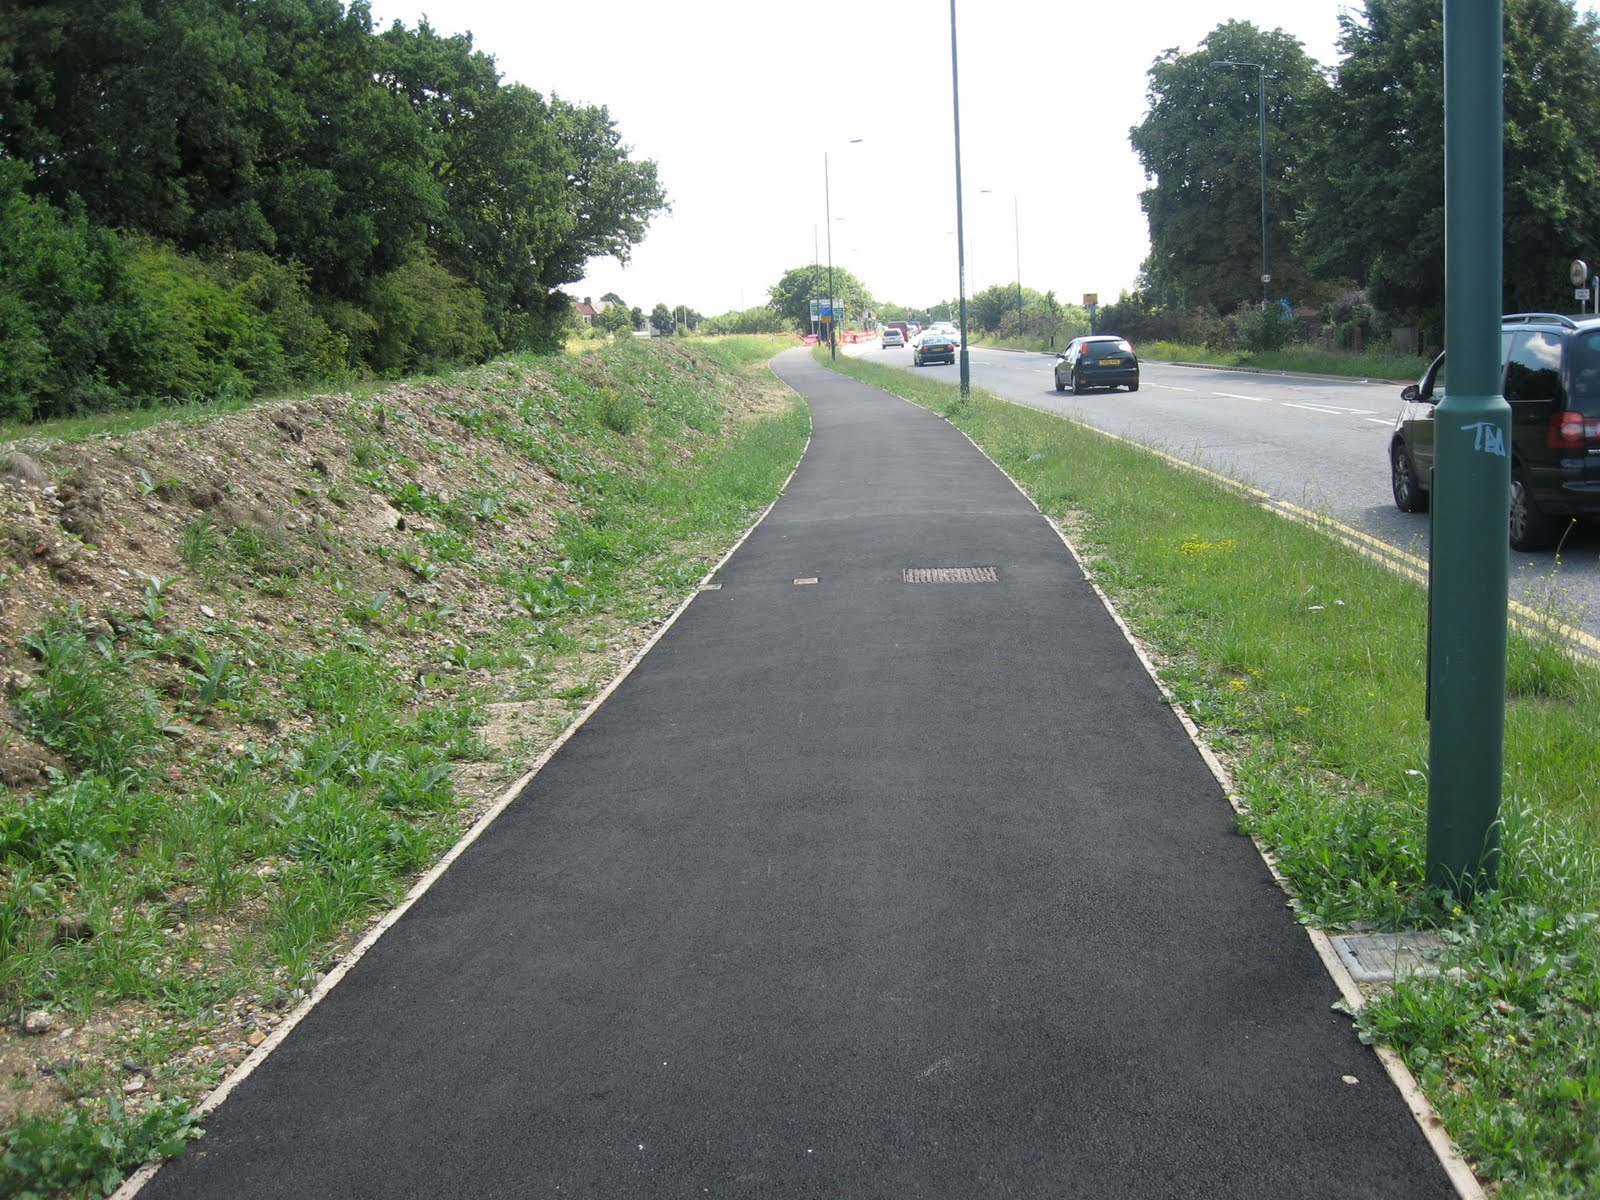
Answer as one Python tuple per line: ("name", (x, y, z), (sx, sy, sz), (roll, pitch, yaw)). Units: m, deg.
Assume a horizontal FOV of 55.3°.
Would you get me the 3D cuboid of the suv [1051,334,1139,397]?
("suv", (8.181, -6.398, 41.948), (2.455, 1.536, 1.872), (7, 15, 33))
